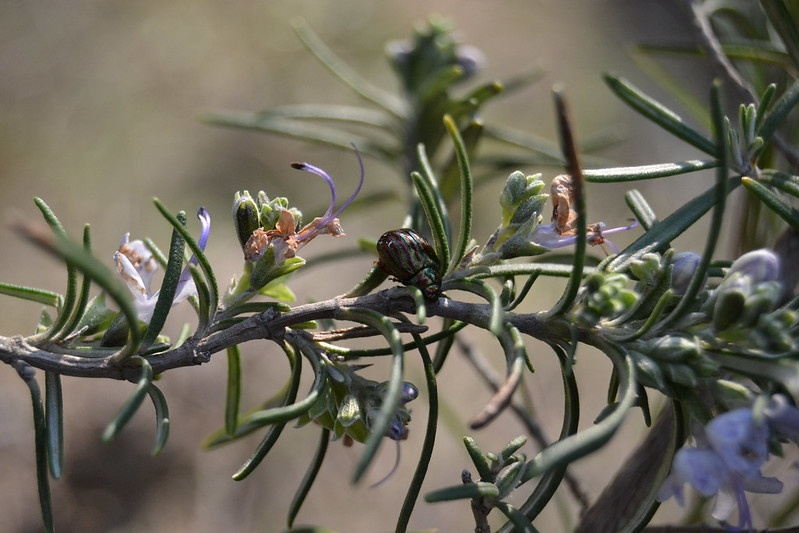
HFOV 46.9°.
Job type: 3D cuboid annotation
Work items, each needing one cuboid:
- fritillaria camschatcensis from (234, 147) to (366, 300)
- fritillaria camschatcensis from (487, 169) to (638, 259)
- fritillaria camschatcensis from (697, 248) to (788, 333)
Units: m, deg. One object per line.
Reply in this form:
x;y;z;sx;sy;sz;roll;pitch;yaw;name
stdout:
-0.243;-0.095;2.100;0.272;0.289;0.233;-2;-31;-11;fritillaria camschatcensis
0.367;-0.101;2.111;0.342;0.189;0.349;1;-5;14;fritillaria camschatcensis
0.707;0.050;1.873;0.099;0.211;0.119;2;1;-9;fritillaria camschatcensis
